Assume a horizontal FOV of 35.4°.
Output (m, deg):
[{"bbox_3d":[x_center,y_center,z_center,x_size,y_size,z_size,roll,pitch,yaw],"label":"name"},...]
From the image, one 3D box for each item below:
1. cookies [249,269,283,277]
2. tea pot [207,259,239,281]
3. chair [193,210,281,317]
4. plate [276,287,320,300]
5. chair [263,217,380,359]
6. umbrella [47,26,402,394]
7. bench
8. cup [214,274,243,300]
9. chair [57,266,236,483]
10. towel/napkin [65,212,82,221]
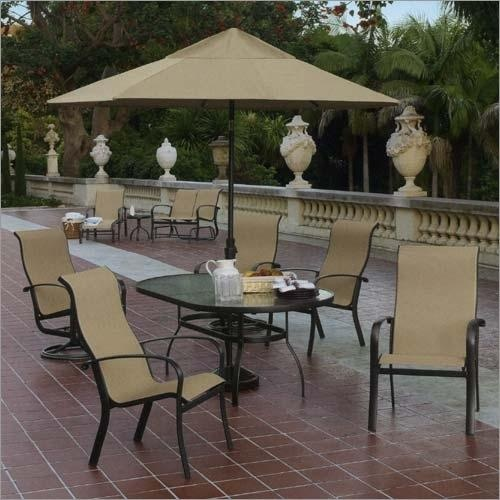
[{"bbox_3d":[0.112,0.172,5.733,0.252,0.046,0.128,-1,7,-7],"label":"cookies"},{"bbox_3d":[-0.204,0.160,6.024,0.210,0.209,0.167,-2,3,12],"label":"tea pot"},{"bbox_3d":[-0.111,0.098,8.178,0.761,0.963,1.271,-17,-5,-7],"label":"chair"},{"bbox_3d":[0.332,0.302,5.445,0.298,0.082,0.158,-1,7,-3],"label":"plate"},{"bbox_3d":[0.654,0.314,7.276,0.983,1.153,0.803,-2,7,-44],"label":"chair"},{"bbox_3d":[-0.269,-0.306,7.564,3.009,2.879,3.209,-2,9,-20],"label":"umbrella"},{"bbox_3d":[-1.246,-0.654,15.147,1.177,0.992,0.900,3,9,35],"label":"bench"},{"bbox_3d":[-0.151,0.259,5.544,0.176,0.173,0.183,-1,1,0],"label":"cup"},{"bbox_3d":[-0.636,0.662,4.666,0.932,1.041,1.124,-3,8,-17],"label":"chair"},{"bbox_3d":[-3.472,-0.637,15.359,0.400,0.134,0.403,1,1,2],"label":"towel/napkin"}]
